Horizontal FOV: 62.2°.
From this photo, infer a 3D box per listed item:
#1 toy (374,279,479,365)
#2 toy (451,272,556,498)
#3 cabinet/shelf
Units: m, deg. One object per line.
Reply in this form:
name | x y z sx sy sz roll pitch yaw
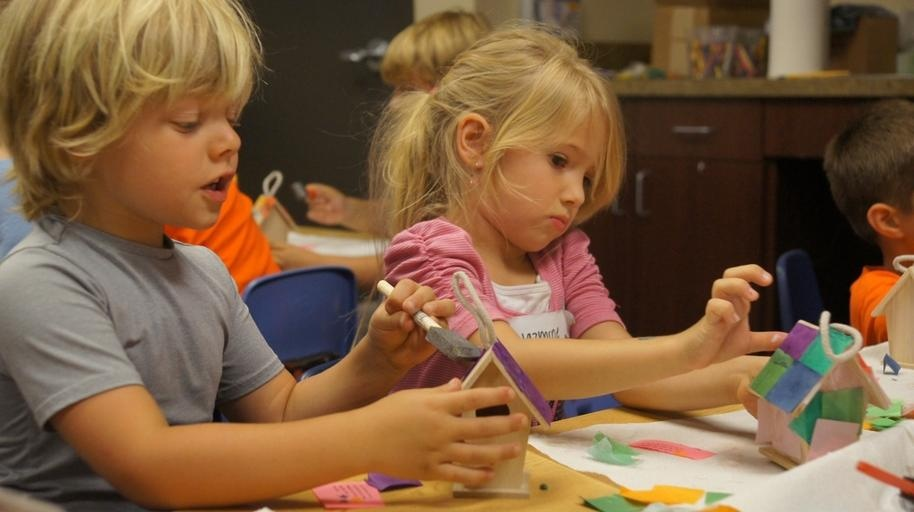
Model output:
toy | -0.063 0.101 1.351 0.078 0.034 0.287 22 10 -35
toy | 0.080 0.201 1.400 0.169 0.387 0.365 -2 11 4
cabinet/shelf | 1.011 -0.153 2.522 0.377 0.871 0.955 -2 4 -34
